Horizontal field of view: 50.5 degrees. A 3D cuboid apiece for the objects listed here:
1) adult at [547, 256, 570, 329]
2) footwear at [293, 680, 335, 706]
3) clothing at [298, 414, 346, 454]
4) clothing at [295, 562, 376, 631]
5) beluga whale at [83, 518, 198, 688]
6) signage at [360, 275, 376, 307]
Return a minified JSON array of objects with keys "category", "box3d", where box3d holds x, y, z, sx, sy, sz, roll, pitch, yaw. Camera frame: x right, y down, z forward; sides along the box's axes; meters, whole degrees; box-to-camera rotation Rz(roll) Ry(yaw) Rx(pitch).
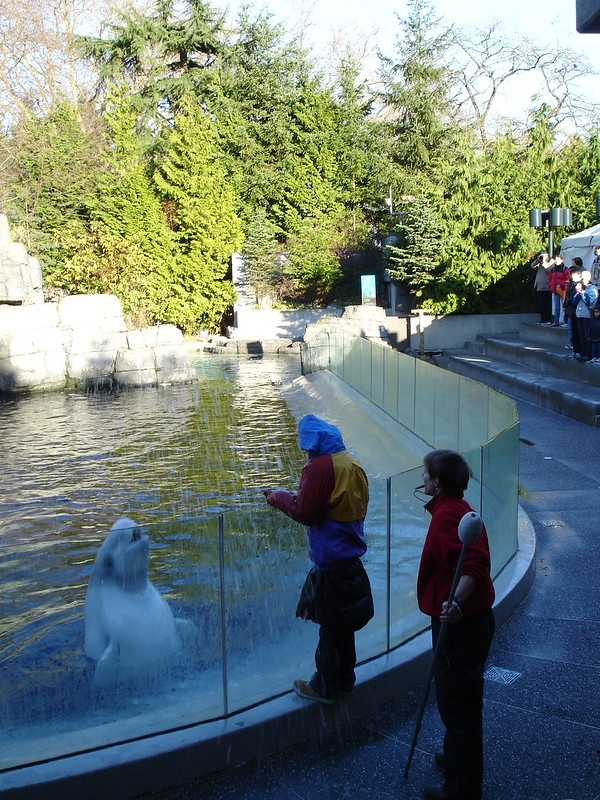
[{"category":"adult","box3d":[6.986,-2.975,17.176,0.586,1.973,0.561,5,19,42]},{"category":"footwear","box3d":[0.062,1.444,3.187,0.203,0.085,0.078,13,11,28]},{"category":"clothing","box3d":[0.113,0.177,3.152,0.213,0.205,0.280,-2,9,2]},{"category":"clothing","box3d":[0.155,0.953,3.185,0.372,0.356,0.209,-1,11,32]},{"category":"beluga whale","box3d":[-0.829,0.949,3.149,0.499,0.581,0.675,-6,10,-21]},{"category":"signage","box3d":[3.085,-4.961,28.610,0.564,1.311,0.387,-3,9,-7]}]
